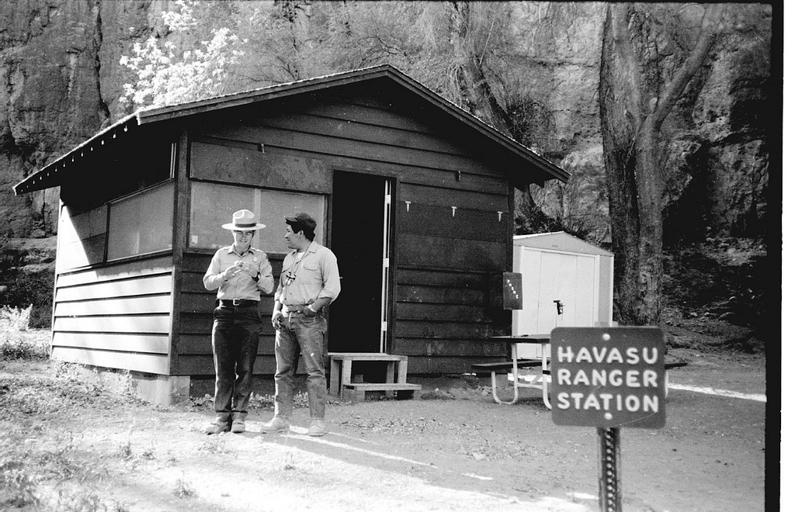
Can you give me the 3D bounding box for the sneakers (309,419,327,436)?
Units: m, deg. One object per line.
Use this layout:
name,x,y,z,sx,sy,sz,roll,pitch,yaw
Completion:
sneakers,-1.110,2.363,9.755,0.146,0.165,0.257,0,-16,0

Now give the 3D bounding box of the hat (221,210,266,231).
hat,-2.249,-0.475,10.383,0.541,0.198,0.582,0,-3,-13

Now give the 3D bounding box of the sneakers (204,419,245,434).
sneakers,-2.376,2.367,9.833,0.574,0.246,0.201,14,-19,-29

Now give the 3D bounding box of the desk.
desk,2.433,2.067,12.751,1.354,1.315,1.355,1,-2,-8

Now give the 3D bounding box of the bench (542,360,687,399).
bench,3.949,2.428,13.483,2.975,0.729,1.916,-3,-16,19

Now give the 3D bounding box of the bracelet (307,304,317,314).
bracelet,-1.182,0.738,9.820,0.104,0.141,0.050,-2,4,4

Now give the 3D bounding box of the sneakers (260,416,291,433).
sneakers,-1.706,2.344,9.926,0.354,0.173,0.186,4,-7,-12

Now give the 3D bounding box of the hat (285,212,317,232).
hat,-1.365,-0.506,10.103,0.401,0.161,0.273,8,-1,-3

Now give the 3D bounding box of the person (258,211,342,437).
person,-1.318,0.937,10.000,0.916,3.051,0.652,4,2,1
